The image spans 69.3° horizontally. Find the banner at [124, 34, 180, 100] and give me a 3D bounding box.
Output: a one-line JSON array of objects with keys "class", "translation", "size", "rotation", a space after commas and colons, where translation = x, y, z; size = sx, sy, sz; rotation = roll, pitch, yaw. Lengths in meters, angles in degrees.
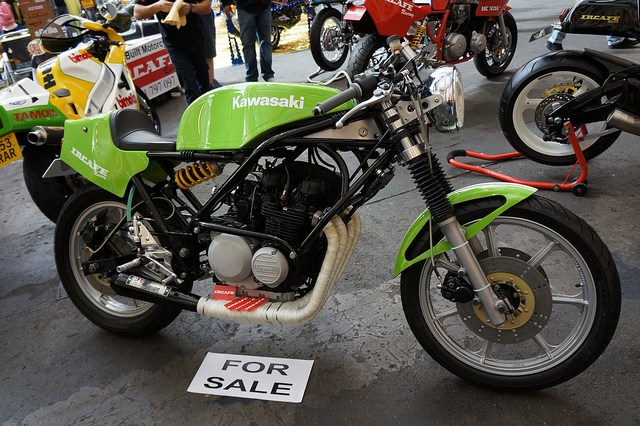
[{"class": "banner", "translation": [-2.610, -2.364, 7.563], "size": [0.263, 0.796, 1.668], "rotation": [-27, 21, -35]}]
